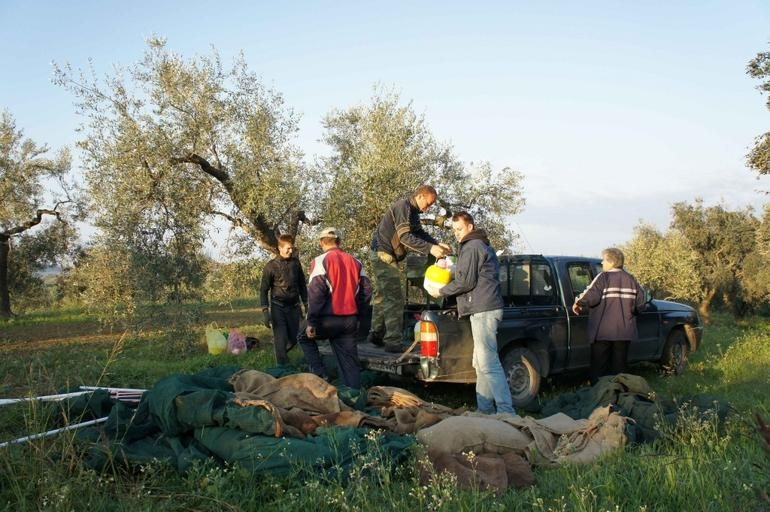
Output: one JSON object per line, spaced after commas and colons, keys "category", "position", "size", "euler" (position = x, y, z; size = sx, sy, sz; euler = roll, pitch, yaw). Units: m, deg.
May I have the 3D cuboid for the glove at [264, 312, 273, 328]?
{"category": "glove", "position": [-2.421, 1.281, 11.872], "size": [0.106, 0.321, 0.229], "euler": [-6, 0, 25]}

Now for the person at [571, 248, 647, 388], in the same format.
{"category": "person", "position": [4.070, 1.038, 10.639], "size": [1.173, 2.381, 0.517], "euler": [1, -1, 16]}

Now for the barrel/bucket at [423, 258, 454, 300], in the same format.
{"category": "barrel/bucket", "position": [0.870, 0.398, 9.933], "size": [0.580, 0.704, 0.604], "euler": [0, -5, 0]}

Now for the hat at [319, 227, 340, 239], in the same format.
{"category": "hat", "position": [-0.977, -0.381, 9.951], "size": [0.244, 0.188, 0.349], "euler": [0, -2, -15]}
